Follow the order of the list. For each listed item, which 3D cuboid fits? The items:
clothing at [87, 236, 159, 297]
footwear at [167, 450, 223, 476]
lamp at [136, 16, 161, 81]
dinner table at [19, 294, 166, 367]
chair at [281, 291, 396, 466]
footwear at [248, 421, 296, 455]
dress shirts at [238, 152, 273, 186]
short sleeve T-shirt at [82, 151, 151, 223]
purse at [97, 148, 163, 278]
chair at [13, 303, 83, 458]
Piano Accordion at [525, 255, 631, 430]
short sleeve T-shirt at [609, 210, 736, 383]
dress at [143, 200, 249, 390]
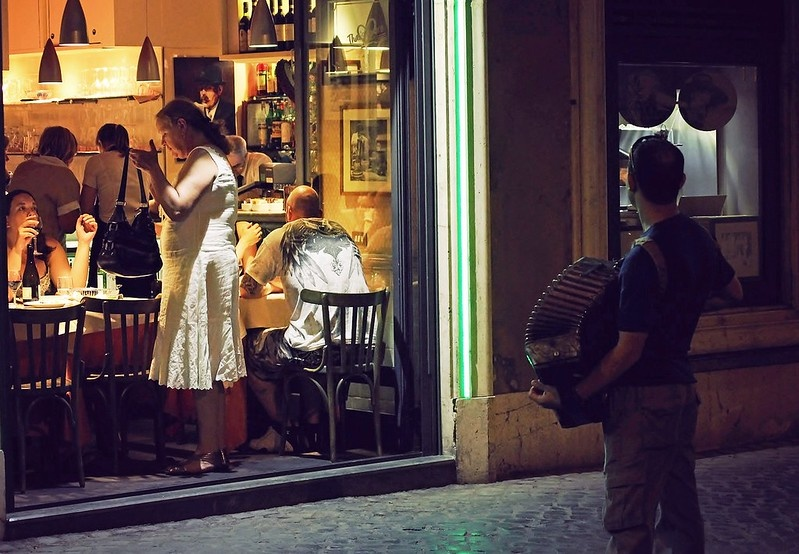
[{"bbox_3d":[-1.961,-0.067,6.603,0.381,0.449,0.204,-2,-7,-4],"label":"clothing"},{"bbox_3d":[-1.362,1.269,6.217,0.301,0.132,0.167,1,-5,-9],"label":"footwear"},{"bbox_3d":[-2.960,-2.582,10.846,0.298,0.572,0.319,1,7,12],"label":"lamp"},{"bbox_3d":[-1.953,0.399,6.483,0.611,0.413,0.607,-2,4,-36],"label":"dinner table"},{"bbox_3d":[-0.448,0.678,6.907,0.647,1.202,0.719,-2,4,-22],"label":"chair"},{"bbox_3d":[-0.969,1.226,6.889,0.386,0.185,0.147,3,-4,26],"label":"footwear"},{"bbox_3d":[-1.492,-1.099,9.485,0.333,0.489,0.254,-2,-25,4],"label":"dress shirts"},{"bbox_3d":[-2.430,-0.758,7.877,0.668,0.711,0.363,1,-5,-42],"label":"short sleeve T-shirt"},{"bbox_3d":[-1.842,-0.462,6.383,0.375,0.921,0.248,0,24,-19],"label":"purse"},{"bbox_3d":[-2.310,0.749,6.086,0.436,1.181,0.704,-2,7,-22],"label":"chair"},{"bbox_3d":[0.759,0.211,3.968,0.424,0.565,0.244,1,6,-1],"label":"Piano Accordion"},{"bbox_3d":[1.338,0.124,4.549,0.382,0.956,1.112,6,13,40],"label":"short sleeve T-shirt"},{"bbox_3d":[-1.293,0.070,6.430,0.544,1.502,0.456,-8,-29,-1],"label":"dress"}]
